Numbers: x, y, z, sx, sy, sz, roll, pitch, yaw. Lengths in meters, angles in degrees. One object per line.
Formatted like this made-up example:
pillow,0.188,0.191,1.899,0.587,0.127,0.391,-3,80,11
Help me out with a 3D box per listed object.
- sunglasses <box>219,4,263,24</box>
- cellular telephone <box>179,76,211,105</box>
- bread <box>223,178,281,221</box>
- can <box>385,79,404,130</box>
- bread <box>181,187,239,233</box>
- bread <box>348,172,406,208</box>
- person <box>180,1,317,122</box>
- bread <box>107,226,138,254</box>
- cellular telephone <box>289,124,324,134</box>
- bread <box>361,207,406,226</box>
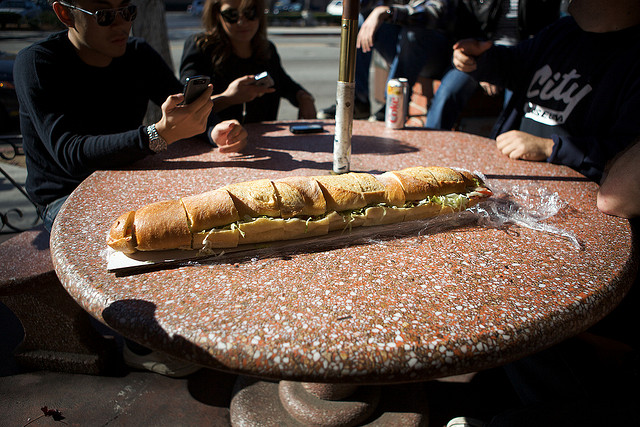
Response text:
sunglasses,-0.582,-1.549,3.609,0.348,0.131,0.118,-17,40,-23
cellular telephone,-0.684,-0.663,2.582,0.123,0.028,0.224,0,60,6
bread,-0.299,-0.059,2.080,0.183,0.059,0.192,-7,52,-16
can,0.507,-0.720,3.106,0.136,0.299,0.145,0,36,0
bread,-0.481,-0.020,2.025,0.185,0.097,0.194,-17,46,-18
bread,0.271,-0.106,2.188,0.214,0.068,0.155,1,46,-18
person,-0.527,-1.221,3.811,0.933,1.222,0.795,-14,25,-34
bread,-0.830,0.115,1.951,0.095,0.057,0.086,8,14,5
cellular telephone,-0.084,-0.564,3.081,0.167,0.040,0.090,-3,29,-16
bread,0.302,0.015,2.158,0.138,0.050,0.100,-8,18,-22
